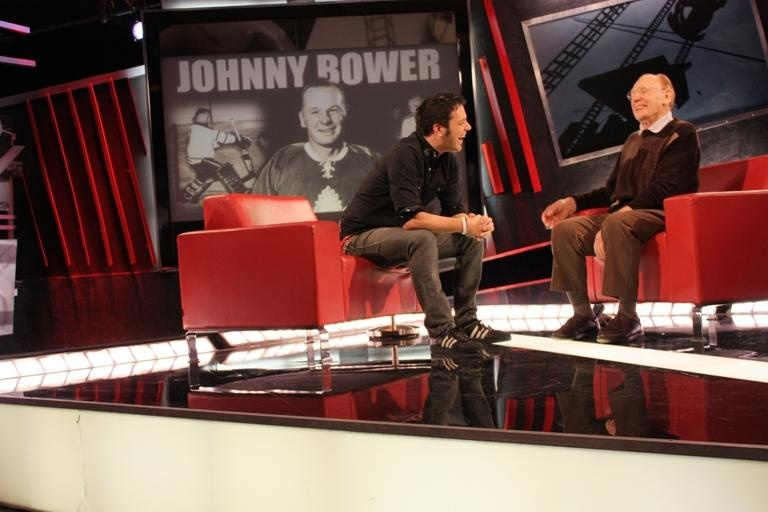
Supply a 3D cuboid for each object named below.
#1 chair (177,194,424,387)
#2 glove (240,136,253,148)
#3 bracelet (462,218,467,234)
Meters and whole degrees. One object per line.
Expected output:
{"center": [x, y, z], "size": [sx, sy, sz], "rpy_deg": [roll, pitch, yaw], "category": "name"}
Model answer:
{"center": [-0.402, 0.125, 4.226], "size": [0.974, 1.079, 1.563], "rpy_deg": [-5, -1, 26], "category": "chair"}
{"center": [-1.148, -0.951, 5.522], "size": [0.100, 0.095, 0.077], "rpy_deg": [-10, 30, -14], "category": "glove"}
{"center": [0.461, -0.170, 3.775], "size": [0.044, 0.070, 0.071], "rpy_deg": [3, -19, 5], "category": "bracelet"}
